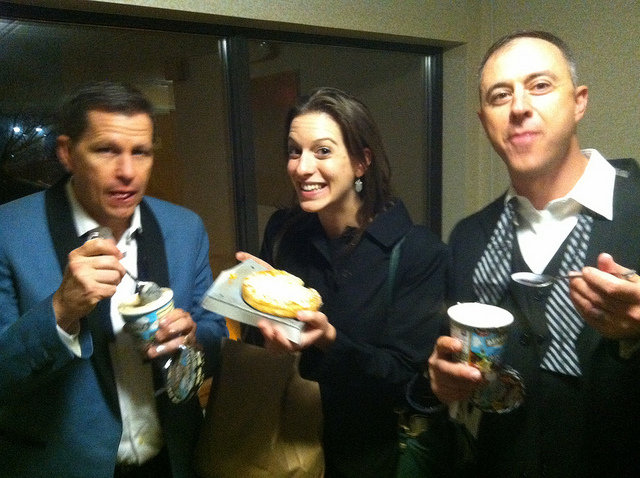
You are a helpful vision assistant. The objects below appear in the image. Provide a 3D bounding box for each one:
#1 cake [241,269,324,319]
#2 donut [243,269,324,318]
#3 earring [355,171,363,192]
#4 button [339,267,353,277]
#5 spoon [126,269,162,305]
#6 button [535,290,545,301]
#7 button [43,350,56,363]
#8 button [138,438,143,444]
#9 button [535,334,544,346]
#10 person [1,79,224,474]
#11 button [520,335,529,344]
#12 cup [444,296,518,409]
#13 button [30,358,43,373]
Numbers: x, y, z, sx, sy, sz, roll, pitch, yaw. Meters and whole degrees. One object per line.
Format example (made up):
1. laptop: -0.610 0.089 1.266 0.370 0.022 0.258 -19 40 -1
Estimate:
1. cake: -0.113 0.161 1.531 0.222 0.096 0.203 -1 16 3
2. donut: -0.117 0.125 1.497 0.153 0.048 0.156 28 21 32
3. earring: 0.138 -0.193 1.795 0.034 0.054 0.011 -11 18 -29
4. button: 0.090 0.114 1.780 0.021 0.037 0.080 -7 17 -19
5. spoon: -0.503 0.125 1.428 0.142 0.087 0.022 15 55 19
6. button: 0.658 0.168 1.523 0.027 0.028 0.016 4 17 19
7. button: -0.745 0.321 1.399 0.032 0.031 0.010 -6 17 1
8. button: -0.577 0.647 1.633 0.015 0.016 0.004 11 -4 1
9. button: 0.657 0.301 1.524 0.026 0.038 0.006 6 18 25
10. person: -0.645 0.151 1.544 0.653 1.206 0.461 -4 16 -10
11. button: 0.623 0.306 1.550 0.007 0.023 0.024 0 3 -37
12. cup: 0.469 0.353 1.410 0.166 0.250 0.162 0 -2 0
13. button: -0.786 0.351 1.409 0.032 0.043 0.005 -2 16 -3
